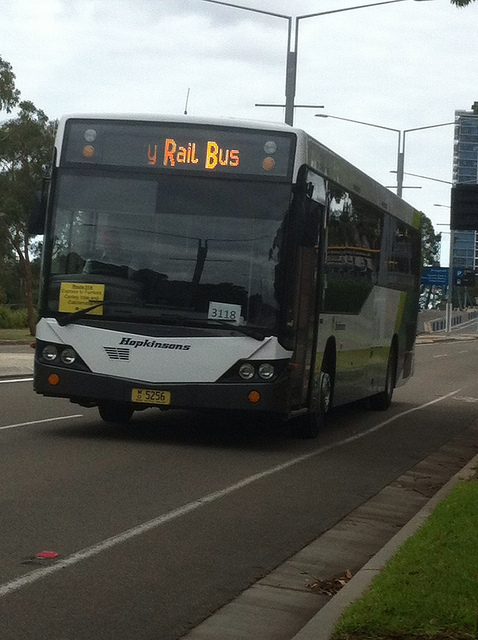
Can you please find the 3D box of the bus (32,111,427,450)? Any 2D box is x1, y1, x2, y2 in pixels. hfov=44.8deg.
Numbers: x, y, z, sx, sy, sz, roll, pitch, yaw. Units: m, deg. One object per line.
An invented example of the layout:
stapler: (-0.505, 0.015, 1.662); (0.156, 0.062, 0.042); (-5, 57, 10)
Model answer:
bus: (0.523, -0.407, 10.418); (3.119, 5.343, 7.171); (4, 2, 35)
